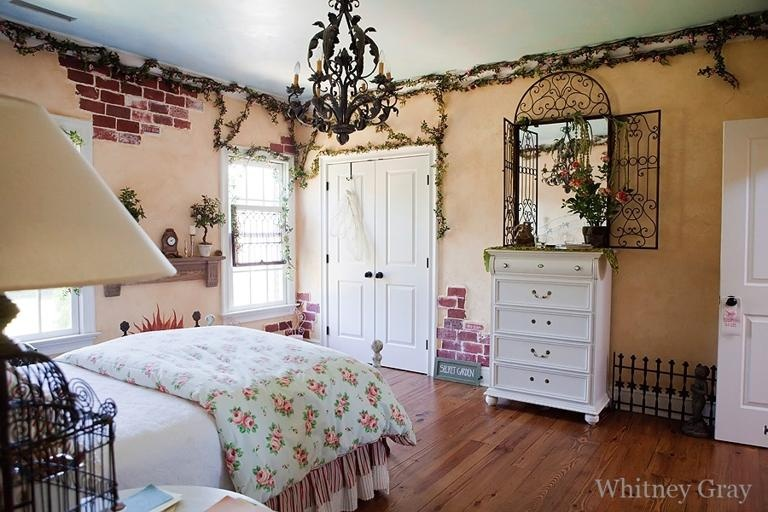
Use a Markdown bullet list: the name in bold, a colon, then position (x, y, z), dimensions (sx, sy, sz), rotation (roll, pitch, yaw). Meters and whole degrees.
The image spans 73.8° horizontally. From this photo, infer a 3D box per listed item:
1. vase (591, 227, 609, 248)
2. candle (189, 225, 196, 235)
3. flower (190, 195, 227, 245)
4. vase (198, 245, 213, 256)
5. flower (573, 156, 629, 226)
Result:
- **vase**: position (1.964, -0.163, 4.703), dimensions (0.191, 0.209, 0.186), rotation (0, -2, 19)
- **candle**: position (-2.070, -0.275, 5.500), dimensions (0.065, 0.115, 0.118), rotation (-3, 11, -13)
- **flower**: position (-1.934, -0.415, 5.637), dimensions (0.159, 0.513, 0.388), rotation (10, 14, 42)
- **vase**: position (-1.950, -0.062, 5.587), dimensions (0.125, 0.091, 0.123), rotation (1, -4, -21)
- **flower**: position (1.983, -0.603, 4.733), dimensions (0.542, 0.641, 0.251), rotation (5, 12, 24)
